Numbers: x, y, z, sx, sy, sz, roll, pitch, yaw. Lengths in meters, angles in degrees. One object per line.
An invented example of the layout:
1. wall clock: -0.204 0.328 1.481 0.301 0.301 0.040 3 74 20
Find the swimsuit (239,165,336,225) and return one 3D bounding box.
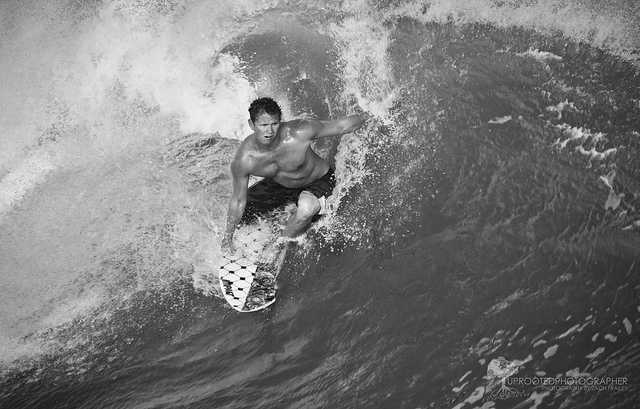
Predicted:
1. swimsuit: -0.299 -0.068 5.752 0.464 0.167 0.558 11 36 37

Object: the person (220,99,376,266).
1. person: -0.165 -0.188 5.628 1.165 1.238 0.754 -4 39 -9

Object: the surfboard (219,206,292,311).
1. surfboard: -0.491 0.341 5.779 0.454 0.151 1.263 18 44 -7
